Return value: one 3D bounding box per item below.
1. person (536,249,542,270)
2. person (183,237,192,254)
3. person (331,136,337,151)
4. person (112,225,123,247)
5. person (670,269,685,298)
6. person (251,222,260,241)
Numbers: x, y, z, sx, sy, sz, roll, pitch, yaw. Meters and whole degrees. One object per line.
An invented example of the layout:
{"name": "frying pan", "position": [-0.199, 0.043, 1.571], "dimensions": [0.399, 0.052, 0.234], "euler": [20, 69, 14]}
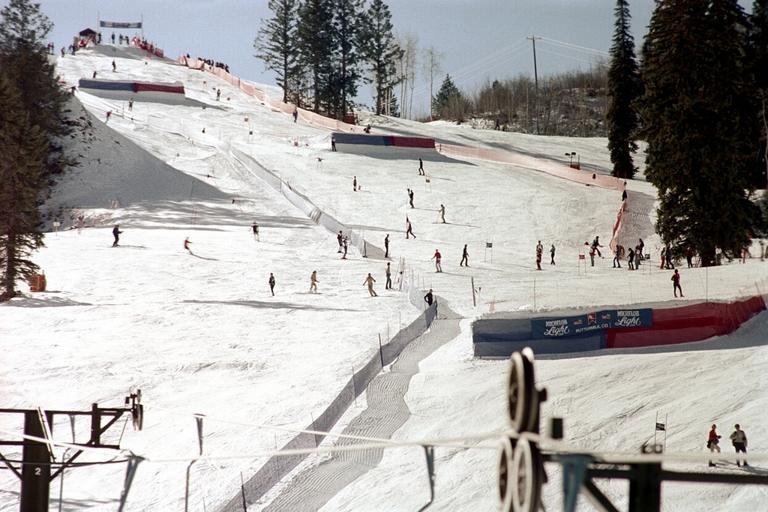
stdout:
{"name": "person", "position": [10.034, 0.178, 61.077], "dimensions": [0.358, 1.306, 1.763], "euler": [0, -1, 10]}
{"name": "person", "position": [-12.946, -0.743, 62.784], "dimensions": [0.569, 1.142, 2.170], "euler": [0, -1, -10]}
{"name": "person", "position": [-4.416, -10.143, 85.913], "dimensions": [0.476, 1.353, 0.595], "euler": [0, -1, -3]}
{"name": "person", "position": [-17.818, -1.387, 63.630], "dimensions": [0.594, 1.530, 2.437], "euler": [0, -1, -16]}
{"name": "person", "position": [16.751, 1.504, 54.021], "dimensions": [0.617, 1.542, 3.360], "euler": [-1, -1, 16]}
{"name": "person", "position": [-8.873, -1.744, 66.271], "dimensions": [0.527, 1.377, 2.748], "euler": [0, -1, -8]}
